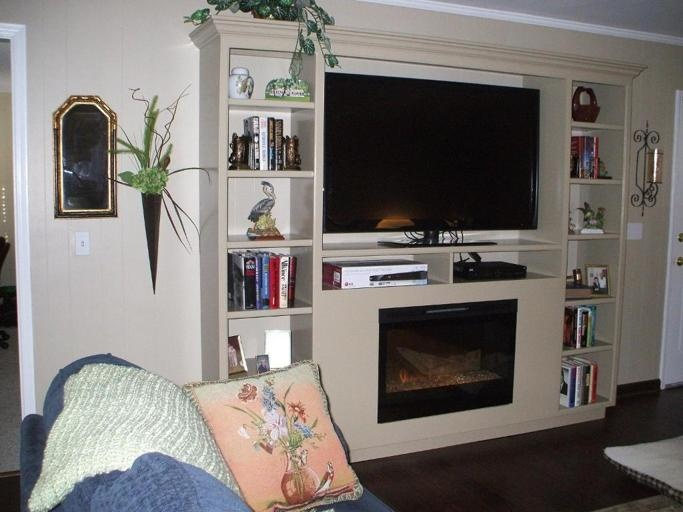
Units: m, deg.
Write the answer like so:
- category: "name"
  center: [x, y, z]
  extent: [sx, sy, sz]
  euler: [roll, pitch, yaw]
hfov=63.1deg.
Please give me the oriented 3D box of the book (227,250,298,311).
- category: "book"
  center: [-0.476, 0.128, 3.266]
  extent: [0.385, 0.317, 0.310]
  euler: [-1, 13, -13]

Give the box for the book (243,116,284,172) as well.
- category: "book"
  center: [-0.443, -0.636, 3.134]
  extent: [0.278, 0.391, 0.278]
  euler: [-4, 12, -23]

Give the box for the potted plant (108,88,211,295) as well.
- category: "potted plant"
  center: [-1.089, -0.378, 3.289]
  extent: [0.534, 1.209, 0.238]
  euler: [-4, 13, -25]

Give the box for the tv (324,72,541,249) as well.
- category: "tv"
  center: [0.546, -0.628, 3.560]
  extent: [1.131, 0.736, 0.040]
  euler: [-3, 8, -21]

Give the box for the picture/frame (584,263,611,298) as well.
- category: "picture/frame"
  center: [1.859, 0.178, 4.017]
  extent: [0.227, 0.341, 0.024]
  euler: [1, 4, 32]
